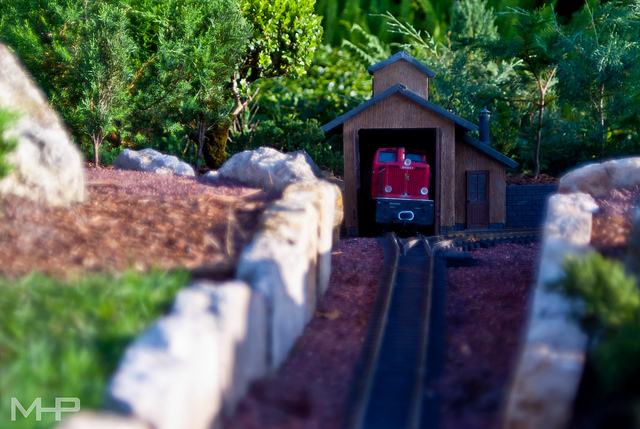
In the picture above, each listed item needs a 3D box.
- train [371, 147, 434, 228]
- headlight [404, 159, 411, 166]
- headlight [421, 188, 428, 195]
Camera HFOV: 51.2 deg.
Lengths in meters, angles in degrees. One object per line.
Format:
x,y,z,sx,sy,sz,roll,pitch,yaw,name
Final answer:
2.446,-0.643,20.029,1.660,2.441,2.501,1,11,1,train
2.613,-1.535,19.826,0.142,0.191,0.050,1,-9,-1,headlight
3.076,-0.684,19.719,0.143,0.190,0.039,1,-3,-8,headlight
